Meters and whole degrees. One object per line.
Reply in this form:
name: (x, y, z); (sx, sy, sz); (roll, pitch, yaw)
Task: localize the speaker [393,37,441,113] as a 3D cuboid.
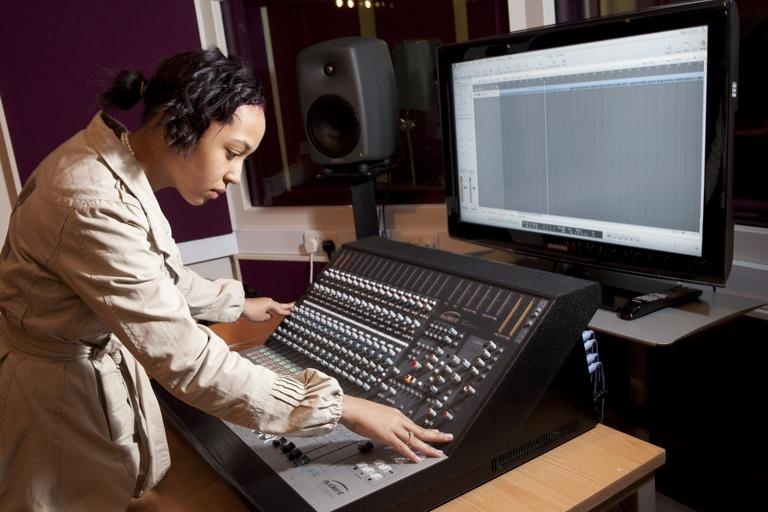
speaker: (0.126, -0.696, 2.086); (0.162, 0.255, 0.160); (-4, 17, 10)

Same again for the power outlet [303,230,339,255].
power outlet: (-0.314, -0.062, 2.577); (0.152, 0.120, 0.038); (14, 5, 21)

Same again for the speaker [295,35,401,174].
speaker: (-0.123, -0.563, 1.978); (0.294, 0.436, 0.256); (5, 22, 27)

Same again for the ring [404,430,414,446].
ring: (0.053, 0.361, 1.079); (0.021, 0.022, 0.017); (33, -2, 12)

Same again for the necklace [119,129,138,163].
necklace: (-0.584, -0.248, 1.245); (0.019, 0.065, 0.057); (-20, -5, 9)

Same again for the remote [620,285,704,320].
remote: (0.707, 0.114, 1.381); (0.253, 0.053, 0.087); (-14, 18, -24)

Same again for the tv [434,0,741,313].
tv: (0.538, -0.236, 1.399); (0.123, 0.613, 0.889); (-16, 14, -42)
